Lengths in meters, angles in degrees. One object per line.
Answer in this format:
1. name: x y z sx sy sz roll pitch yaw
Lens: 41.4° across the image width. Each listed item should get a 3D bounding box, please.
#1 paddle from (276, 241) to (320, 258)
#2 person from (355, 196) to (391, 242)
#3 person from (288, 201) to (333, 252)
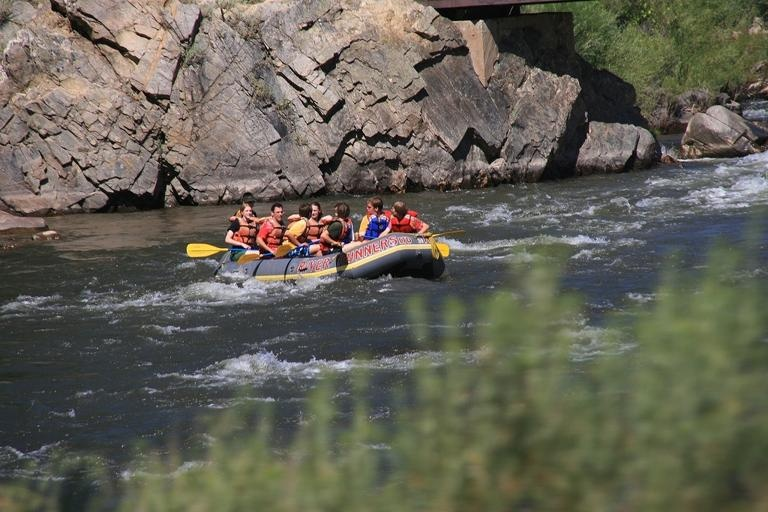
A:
1. paddle: -1.957 -0.137 23.000 0.750 0.276 0.430 0 -1 -1
2. person: -0.197 -0.812 23.482 0.771 1.015 0.837 -13 21 -38
3. person: -1.863 -0.673 23.627 1.097 1.386 1.250 0 1 6
